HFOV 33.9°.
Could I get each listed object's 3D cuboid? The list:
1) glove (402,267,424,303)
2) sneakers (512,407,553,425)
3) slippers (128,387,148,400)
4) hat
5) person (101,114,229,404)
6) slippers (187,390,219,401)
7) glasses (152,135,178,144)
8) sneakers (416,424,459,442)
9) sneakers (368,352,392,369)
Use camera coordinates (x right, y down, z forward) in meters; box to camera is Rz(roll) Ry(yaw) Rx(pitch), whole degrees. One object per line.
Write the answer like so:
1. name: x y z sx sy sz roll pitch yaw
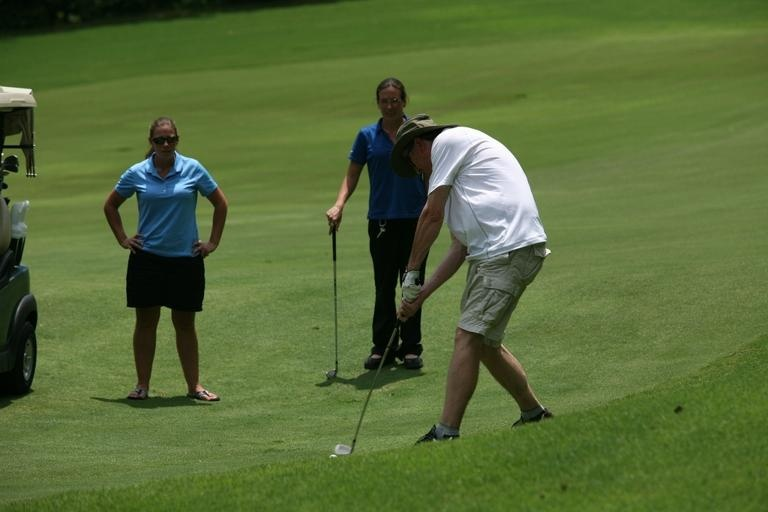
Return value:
1. glove: 0.278 0.307 12.636 0.245 0.293 0.313 2 6 -2
2. sneakers: 1.508 1.617 12.691 0.462 0.171 0.156 -10 2 -5
3. slippers: -2.758 1.556 14.187 0.204 0.076 0.114 5 35 -4
4. hat: 0.292 -1.162 12.876 0.272 0.678 0.573 46 2 14
5. person: -2.414 0.049 14.098 1.271 3.129 0.734 2 14 -7
6. slippers: -2.025 1.588 14.231 0.272 0.086 0.140 0 6 11
7. glasses: -2.405 -1.289 13.977 0.285 0.107 0.167 -2 13 -21
8. sneakers: 0.548 1.740 12.313 0.451 0.167 0.158 -3 -3 10
9. sneakers: -0.038 1.251 14.869 0.274 0.083 0.164 -2 2 -22
